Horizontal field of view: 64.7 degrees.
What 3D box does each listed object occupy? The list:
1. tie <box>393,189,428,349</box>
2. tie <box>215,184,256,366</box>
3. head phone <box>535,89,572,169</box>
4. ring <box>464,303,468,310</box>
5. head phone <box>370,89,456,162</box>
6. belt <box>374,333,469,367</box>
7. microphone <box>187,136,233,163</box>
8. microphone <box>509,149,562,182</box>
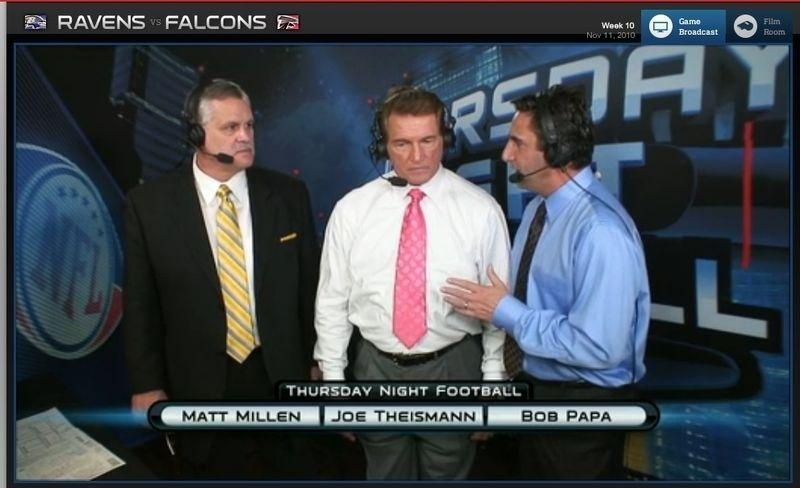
[{"bbox_3d":[0.070,0.141,3.680,0.167,0.909,0.263,0,11,31],"label":"tie"},{"bbox_3d":[-1.020,0.162,3.819,0.192,1.025,0.131,-9,10,-13],"label":"tie"},{"bbox_3d":[0.834,-0.631,3.541,0.147,0.341,0.298,-5,-8,3],"label":"head phone"},{"bbox_3d":[0.372,0.352,3.556,0.020,0.019,0.019,1,3,0],"label":"ring"},{"bbox_3d":[0.058,-0.683,3.653,0.542,0.403,0.195,-2,5,0],"label":"head phone"},{"bbox_3d":[0.032,0.655,3.921,0.415,0.079,0.453,3,7,13],"label":"belt"},{"bbox_3d":[-1.150,-0.568,3.817,0.273,0.183,0.048,-3,10,15],"label":"microphone"},{"bbox_3d":[0.715,-0.422,3.562,0.079,0.106,0.432,-9,-9,-38],"label":"microphone"}]
